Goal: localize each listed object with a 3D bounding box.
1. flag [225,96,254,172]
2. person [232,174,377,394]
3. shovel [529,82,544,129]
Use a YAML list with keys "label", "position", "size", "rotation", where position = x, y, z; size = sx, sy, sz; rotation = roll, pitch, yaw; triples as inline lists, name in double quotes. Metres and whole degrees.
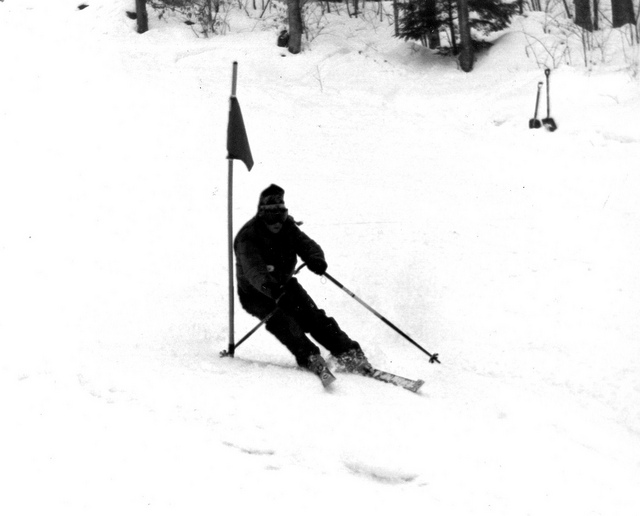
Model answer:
- label: "flag"
  position: [-0.905, -1.363, 9.542]
  size: [0.266, 0.809, 0.291]
  rotation: [-10, 24, -21]
- label: "person"
  position: [-0.257, 0.210, 9.751]
  size: [1.093, 1.400, 2.433]
  rotation: [-12, 38, -33]
- label: "shovel"
  position: [3.275, -2.363, 12.954]
  size: [0.168, 0.742, 0.393]
  rotation: [6, 33, 10]
